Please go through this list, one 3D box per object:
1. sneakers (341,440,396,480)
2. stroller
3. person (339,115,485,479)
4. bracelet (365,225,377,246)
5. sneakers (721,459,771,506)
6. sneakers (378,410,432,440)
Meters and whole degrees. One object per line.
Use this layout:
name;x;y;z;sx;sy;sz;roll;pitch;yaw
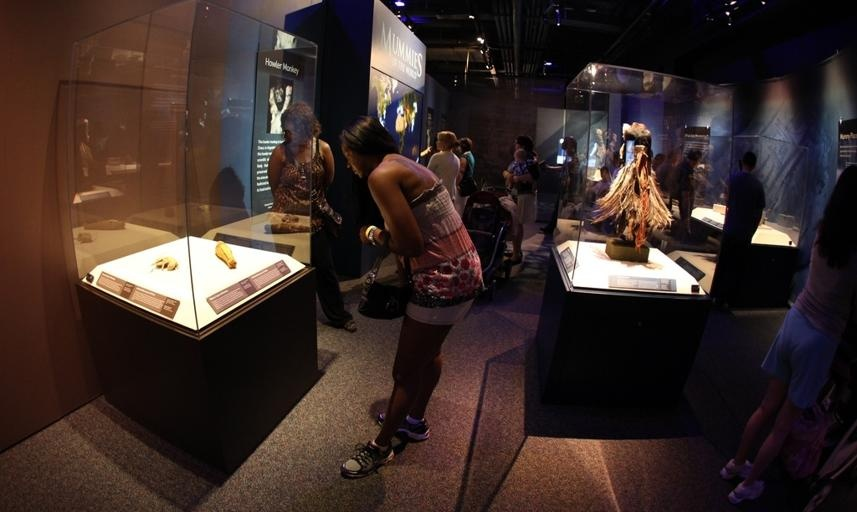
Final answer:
sneakers;-0.434;1.418;3.746;0.380;0.161;0.181;-16;36;-37
stroller;0.566;-0.213;5.992;0.659;0.984;0.761;0;15;13
person;-0.135;0.259;3.765;1.164;2.329;0.814;-5;18;-18
bracelet;-0.380;-0.136;3.558;0.085;0.108;0.086;20;38;23
sneakers;2.215;1.533;3.716;0.394;0.258;0.152;-30;18;-27
sneakers;-0.201;1.257;4.020;0.445;0.205;0.168;12;2;-2
